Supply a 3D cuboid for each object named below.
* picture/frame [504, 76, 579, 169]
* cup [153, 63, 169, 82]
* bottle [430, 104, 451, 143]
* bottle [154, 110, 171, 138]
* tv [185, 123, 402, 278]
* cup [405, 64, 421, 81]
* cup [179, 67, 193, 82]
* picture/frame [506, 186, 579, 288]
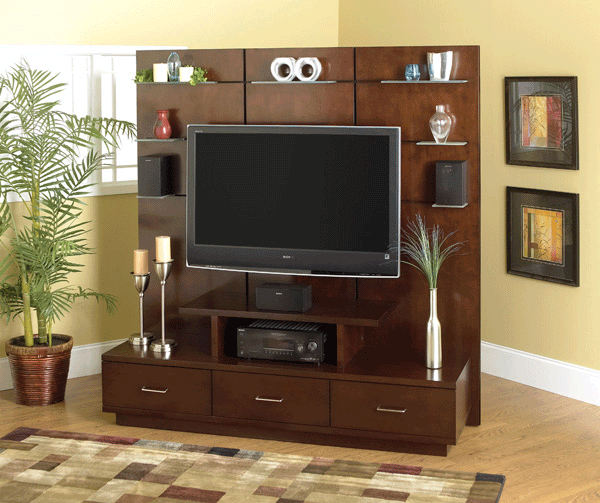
[{"bbox_3d":[1.585,-0.845,3.692,0.053,0.697,0.627,-8,10,-42],"label":"picture/frame"},{"bbox_3d":[-0.859,-1.099,3.516,0.106,0.115,0.104,1,11,0],"label":"cup"},{"bbox_3d":[0.755,-0.693,3.136,0.103,0.203,0.166,-3,7,-23],"label":"bottle"},{"bbox_3d":[-0.848,-0.780,3.525,0.120,0.174,0.169,0,3,5],"label":"bottle"},{"bbox_3d":[0.007,-0.314,3.267,0.926,0.637,0.063,2,10,11],"label":"tv"},{"bbox_3d":[0.630,-0.988,3.158,0.090,0.096,0.039,1,6,11],"label":"cup"},{"bbox_3d":[-0.693,-1.078,3.480,0.085,0.081,0.047,3,14,7],"label":"cup"},{"bbox_3d":[1.627,-0.109,3.784,0.076,0.723,0.661,-7,9,-42],"label":"picture/frame"}]
